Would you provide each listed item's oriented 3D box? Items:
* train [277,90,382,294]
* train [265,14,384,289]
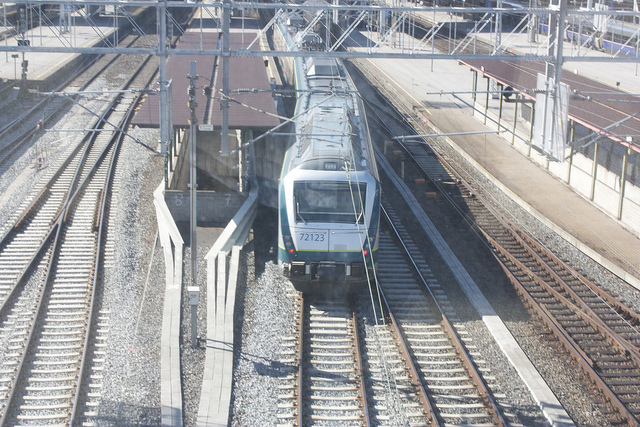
[{"bbox_3d":[0.245,-0.385,24.725,3.321,5.056,5.577,3,26,-2],"label":"train"},{"bbox_3d":[-0.117,-5.147,28.497,2.562,4.405,18.432,-1,48,-2],"label":"train"}]
